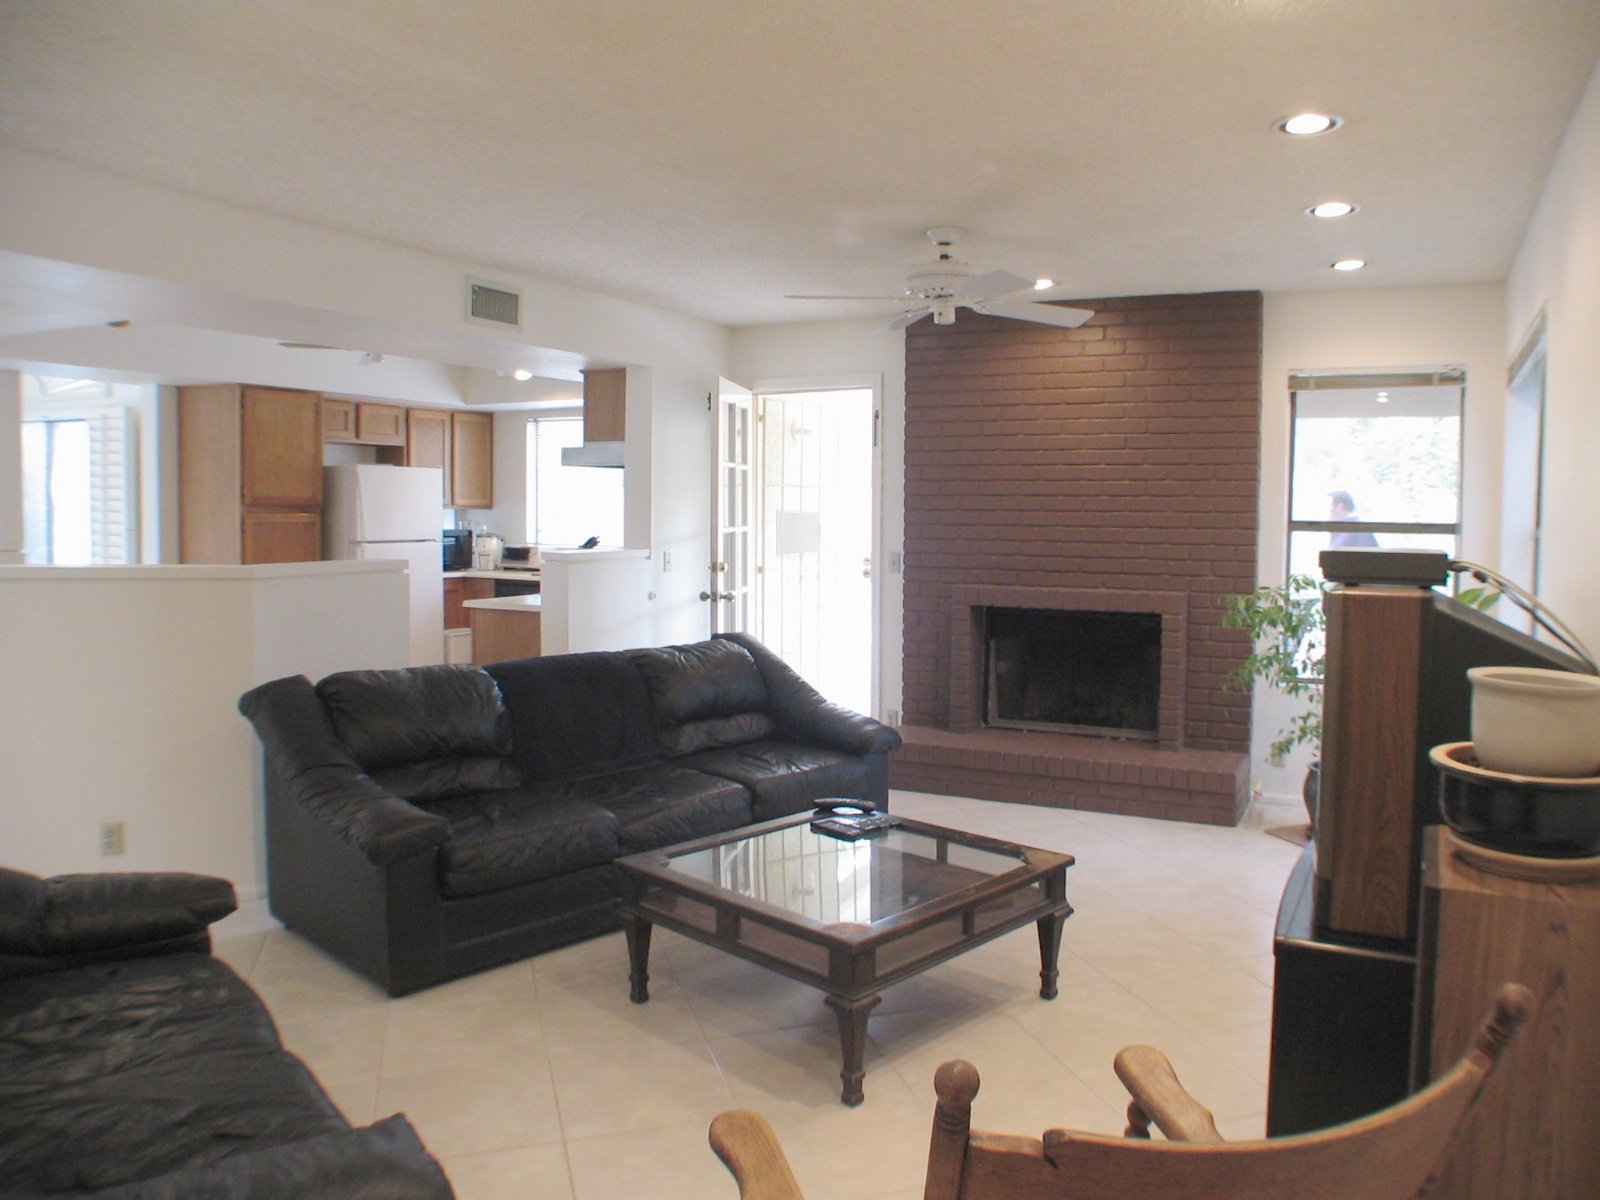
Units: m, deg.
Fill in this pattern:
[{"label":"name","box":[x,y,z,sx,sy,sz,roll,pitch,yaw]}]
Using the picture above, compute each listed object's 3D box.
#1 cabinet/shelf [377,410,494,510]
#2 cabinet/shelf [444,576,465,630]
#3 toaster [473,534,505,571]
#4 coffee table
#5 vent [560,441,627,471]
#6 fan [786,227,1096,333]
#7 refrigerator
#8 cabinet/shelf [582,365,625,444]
[{"label":"cabinet/shelf","box":[-2.873,-1.099,9.221,0.326,0.815,0.934,1,2,31]},{"label":"cabinet/shelf","box":[-2.733,0.018,9.370,0.079,0.415,0.236,6,12,24]},{"label":"toaster","box":[-2.536,-0.401,9.653,0.221,0.258,0.556,-1,10,-7]},{"label":"coffee table","box":[0.053,1.010,3.919,0.924,0.380,0.937,7,8,44]},{"label":"vent","box":[-1.547,-1.061,8.845,0.598,0.132,0.520,1,-1,8]},{"label":"fan","box":[0.705,-1.359,5.263,0.891,0.308,0.875,1,3,-42]},{"label":"refrigerator","box":[-3.047,-0.246,8.765,0.544,1.515,0.861,5,12,18]},{"label":"cabinet/shelf","box":[-1.157,-1.150,6.987,0.354,0.438,0.092,11,15,43]}]
